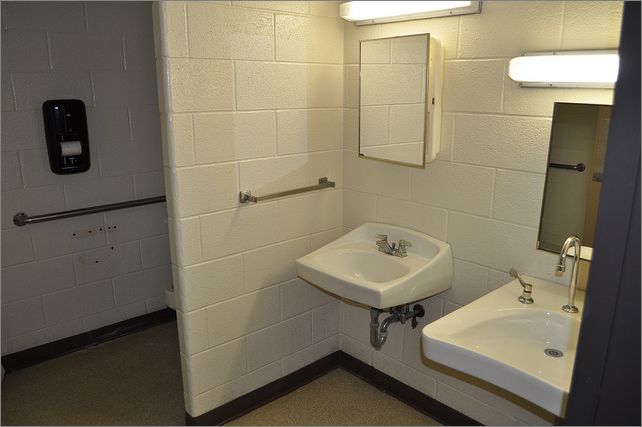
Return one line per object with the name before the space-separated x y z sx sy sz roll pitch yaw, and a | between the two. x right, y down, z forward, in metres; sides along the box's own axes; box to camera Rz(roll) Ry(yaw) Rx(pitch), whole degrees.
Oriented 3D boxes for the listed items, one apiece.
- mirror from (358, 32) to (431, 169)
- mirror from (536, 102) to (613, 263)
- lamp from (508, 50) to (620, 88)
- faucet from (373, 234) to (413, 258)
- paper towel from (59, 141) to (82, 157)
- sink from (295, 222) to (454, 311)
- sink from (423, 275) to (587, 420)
mirror | 0.397 -0.611 2.396 0.127 0.660 0.494 -12 22 -31
mirror | 1.119 -0.139 1.964 0.246 0.683 0.124 11 22 30
lamp | 1.013 -0.613 1.882 0.428 0.154 0.198 9 20 28
faucet | 0.398 0.168 2.536 0.090 0.102 0.244 -15 22 -42
paper towel | -1.587 -0.410 2.794 0.116 0.092 0.095 -14 49 -41
sink | 0.300 0.273 2.394 0.664 0.270 0.560 14 23 38
sink | 0.819 0.523 1.933 0.547 0.294 0.652 12 21 33
